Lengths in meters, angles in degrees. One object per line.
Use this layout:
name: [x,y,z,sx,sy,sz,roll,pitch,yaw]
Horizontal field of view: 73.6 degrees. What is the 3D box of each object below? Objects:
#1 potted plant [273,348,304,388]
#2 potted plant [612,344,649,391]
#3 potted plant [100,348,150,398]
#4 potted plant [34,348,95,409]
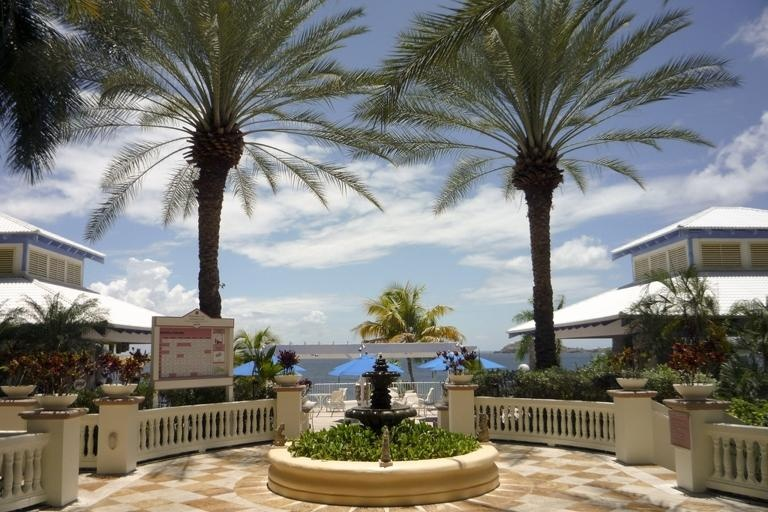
potted plant: [-3.134,3.680,16.882,0.763,0.997,0.717,-23,-14,24]
potted plant: [8.019,3.628,16.579,1.308,1.349,1.068,-2,-28,7]
potted plant: [-7.026,3.034,13.393,0.960,0.913,0.657,5,-4,-1]
potted plant: [-7.664,2.883,11.940,1.172,1.152,0.956,-7,-14,-1]
